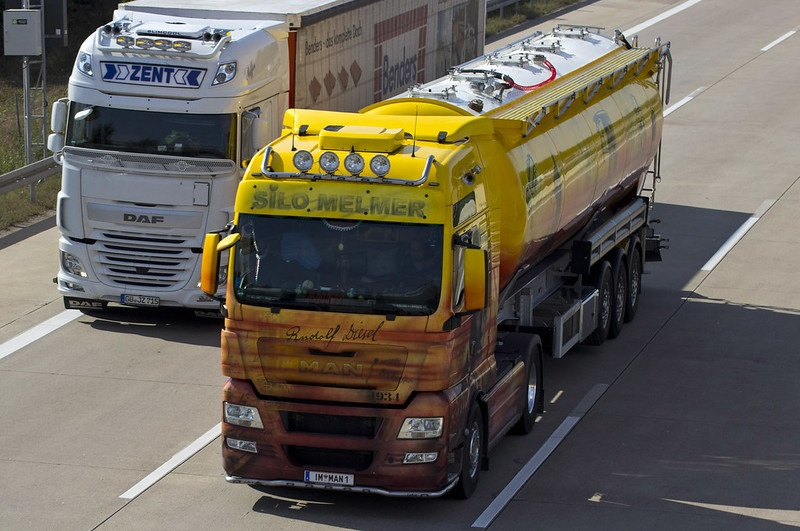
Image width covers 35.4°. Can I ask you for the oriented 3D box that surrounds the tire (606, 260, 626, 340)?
[{"bbox_3d":[3.782,0.608,22.021,0.372,1.068,1.106,0,24,19],"label":"tire"}]

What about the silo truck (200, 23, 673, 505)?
[{"bbox_3d":[0.769,-0.801,20.287,4.017,4.119,10.300,4,16,26],"label":"silo truck"}]

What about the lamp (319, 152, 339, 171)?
[{"bbox_3d":[-0.902,-1.331,16.180,0.258,0.271,0.152,-5,18,-7],"label":"lamp"}]

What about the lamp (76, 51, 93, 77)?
[{"bbox_3d":[-5.361,-3.431,21.472,0.327,0.422,0.187,6,-1,10],"label":"lamp"}]

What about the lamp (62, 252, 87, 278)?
[{"bbox_3d":[-5.691,-0.030,21.935,0.376,0.475,0.221,9,20,12],"label":"lamp"}]

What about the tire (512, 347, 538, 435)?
[{"bbox_3d":[1.802,1.836,18.694,0.438,1.223,1.286,3,3,13],"label":"tire"}]

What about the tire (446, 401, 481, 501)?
[{"bbox_3d":[0.972,2.515,16.839,0.298,1.013,1.114,-1,-3,13],"label":"tire"}]

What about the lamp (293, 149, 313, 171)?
[{"bbox_3d":[-1.248,-1.344,16.223,0.245,0.277,0.127,-1,18,3],"label":"lamp"}]

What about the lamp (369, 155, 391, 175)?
[{"bbox_3d":[-0.249,-1.282,16.130,0.254,0.272,0.118,-3,18,-2],"label":"lamp"}]

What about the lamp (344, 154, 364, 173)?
[{"bbox_3d":[-0.580,-1.317,16.178,0.265,0.256,0.145,-3,18,-2],"label":"lamp"}]

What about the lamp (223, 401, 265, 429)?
[{"bbox_3d":[-2.040,1.966,16.417,0.456,0.173,0.331,5,7,8],"label":"lamp"}]
